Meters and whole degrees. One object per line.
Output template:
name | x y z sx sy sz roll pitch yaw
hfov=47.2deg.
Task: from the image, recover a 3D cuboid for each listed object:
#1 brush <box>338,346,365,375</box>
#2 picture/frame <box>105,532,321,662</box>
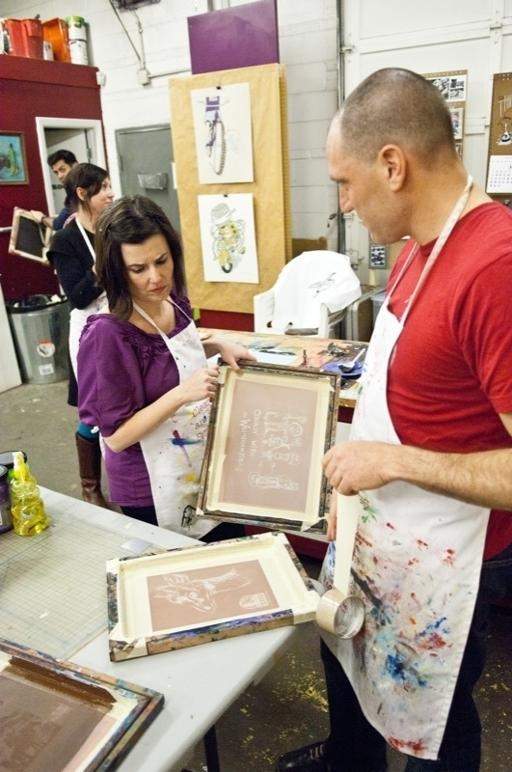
brush | 0.419 -0.108 2.560 0.096 0.072 0.176 17 5 12
picture/frame | -0.101 0.413 1.147 0.277 0.030 0.231 -9 18 -7
